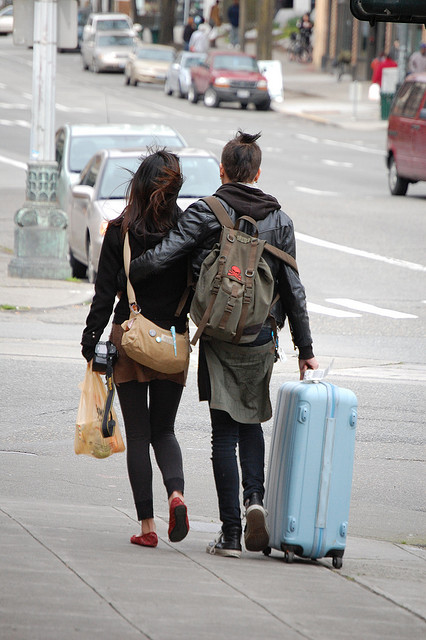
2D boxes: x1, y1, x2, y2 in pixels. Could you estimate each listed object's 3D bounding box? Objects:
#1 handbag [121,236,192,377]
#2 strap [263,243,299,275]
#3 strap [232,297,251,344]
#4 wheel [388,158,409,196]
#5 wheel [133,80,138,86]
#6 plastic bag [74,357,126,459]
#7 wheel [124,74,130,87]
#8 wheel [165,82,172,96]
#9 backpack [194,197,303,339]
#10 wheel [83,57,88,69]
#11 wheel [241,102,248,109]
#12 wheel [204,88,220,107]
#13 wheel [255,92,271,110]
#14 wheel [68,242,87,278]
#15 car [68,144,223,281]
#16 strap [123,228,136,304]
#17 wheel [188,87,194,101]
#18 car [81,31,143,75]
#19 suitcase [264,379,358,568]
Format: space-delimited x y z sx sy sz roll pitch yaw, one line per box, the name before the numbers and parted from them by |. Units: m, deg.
handbag | -0.216 -0.054 3.945 0.287 0.501 0.264 5 -1 -4
strap | 0.254 -0.241 3.972 0.187 0.035 0.021 44 -17 -28
strap | 0.106 -0.005 3.801 0.036 0.130 0.094 15 -6 0
wheel | 3.643 -2.873 20.401 0.207 0.711 0.668 0 6 -12
wheel | -3.068 -9.502 41.184 0.154 0.192 0.474 5 -2 -6
plastic bag | -0.469 0.346 4.141 0.153 0.418 0.174 4 -20 -32
wheel | -3.413 -9.665 41.568 0.164 0.480 0.728 4 -2 -9
wheel | -1.674 -8.847 39.228 0.258 0.457 0.734 5 -2 -4
backpack | 0.118 -0.197 3.886 0.399 0.440 0.250 17 -3 -22
wheel | -5.343 -10.859 43.589 0.278 0.288 0.205 0 -3 -30
wheel | 1.076 -7.530 35.940 0.164 0.176 0.193 1 19 3
wheel | 0.031 -7.688 35.298 0.512 0.575 0.557 -8 -20 -3
wheel | 1.734 -7.536 35.477 0.438 0.361 0.669 -6 -22 2
wheel | -1.728 -0.805 13.236 0.168 0.513 0.487 -1 -1 1
car | -0.849 -1.444 11.984 1.368 1.165 2.392 -2 0 -11
strap | -0.320 -0.194 3.939 0.031 0.281 0.073 -3 4 -19
wheel | -0.787 -8.094 36.796 0.140 0.423 0.295 -2 0 15
car | -3.990 -10.852 41.579 1.740 1.416 4.027 -2 18 -5
suitcase | 0.341 0.554 3.847 0.347 0.615 0.284 4 -1 18
